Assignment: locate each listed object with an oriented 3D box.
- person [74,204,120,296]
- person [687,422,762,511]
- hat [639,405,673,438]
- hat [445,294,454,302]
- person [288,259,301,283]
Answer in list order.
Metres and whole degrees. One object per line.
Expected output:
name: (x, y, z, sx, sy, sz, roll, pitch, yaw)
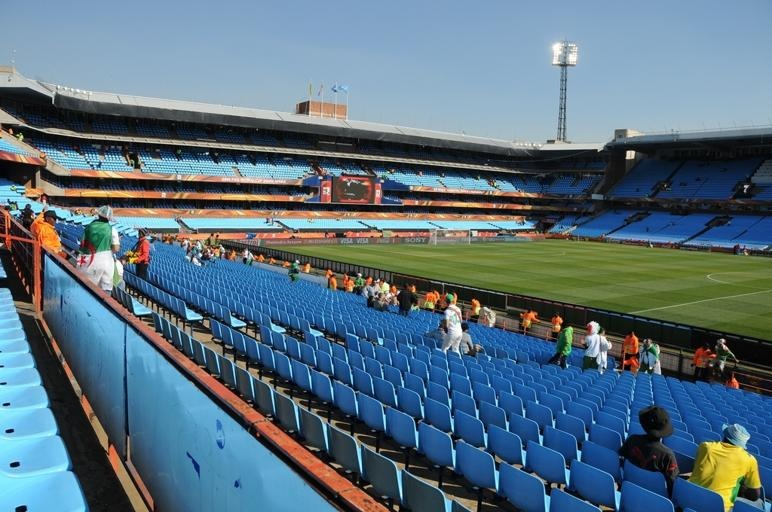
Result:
person: (-4.447, -0.064, 9.708, 0.633, 1.598, 0.524, 13, 20, 6)
person: (4.220, 2.572, 7.406, 0.831, 1.153, 0.402, 8, 2, 6)
hat: (3.450, 2.118, 7.736, 0.408, 0.160, 0.419, -6, 42, 0)
hat: (1.424, 0.923, 13.469, 0.185, 0.164, 0.172, 10, 28, 4)
person: (-4.014, 0.693, 26.633, 0.452, 1.100, 0.502, -11, 24, -35)
